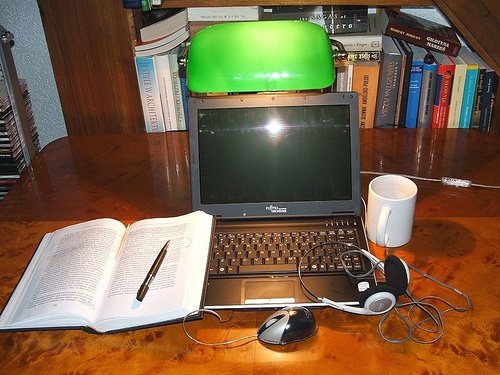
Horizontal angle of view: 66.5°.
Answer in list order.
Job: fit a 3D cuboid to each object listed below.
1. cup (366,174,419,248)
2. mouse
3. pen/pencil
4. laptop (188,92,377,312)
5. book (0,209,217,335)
[{"bbox_3d":[0.324,0.061,0.878,0.105,0.155,0.115,-2,18,0],"label":"cup"},{"bbox_3d":[0.072,0.258,0.713,0.090,0.036,0.062,-4,33,-3],"label":"mouse"},{"bbox_3d":[-0.191,0.167,0.816,0.018,0.019,0.170,16,41,7],"label":"pen/pencil"},{"bbox_3d":[0.073,0.045,0.948,0.461,0.301,0.460,-1,60,2],"label":"laptop"},{"bbox_3d":[-0.295,0.172,0.835,0.411,0.150,0.260,-1,18,1],"label":"book"}]
